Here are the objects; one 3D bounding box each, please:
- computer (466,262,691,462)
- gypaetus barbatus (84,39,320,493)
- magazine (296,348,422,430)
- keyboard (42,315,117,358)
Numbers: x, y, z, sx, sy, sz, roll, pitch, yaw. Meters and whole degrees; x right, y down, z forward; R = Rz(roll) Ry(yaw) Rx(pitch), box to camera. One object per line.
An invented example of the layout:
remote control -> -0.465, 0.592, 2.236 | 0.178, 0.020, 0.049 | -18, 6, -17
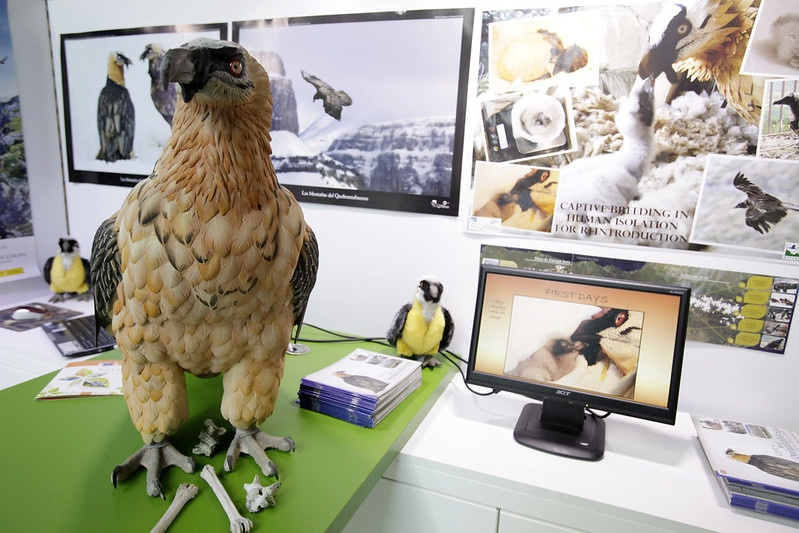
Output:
computer -> 0.570, 0.294, 1.911 | 0.662, 0.539, 0.324 | 7, 12, 17
gypaetus barbatus -> -0.548, 0.000, 1.627 | 0.637, 1.204, 0.304 | -3, 11, -14
magazine -> -0.108, 0.382, 1.908 | 0.243, 0.075, 0.246 | 14, 24, 39
keyboard -> -1.256, 0.268, 2.315 | 0.247, 0.030, 0.438 | -10, 18, -42
